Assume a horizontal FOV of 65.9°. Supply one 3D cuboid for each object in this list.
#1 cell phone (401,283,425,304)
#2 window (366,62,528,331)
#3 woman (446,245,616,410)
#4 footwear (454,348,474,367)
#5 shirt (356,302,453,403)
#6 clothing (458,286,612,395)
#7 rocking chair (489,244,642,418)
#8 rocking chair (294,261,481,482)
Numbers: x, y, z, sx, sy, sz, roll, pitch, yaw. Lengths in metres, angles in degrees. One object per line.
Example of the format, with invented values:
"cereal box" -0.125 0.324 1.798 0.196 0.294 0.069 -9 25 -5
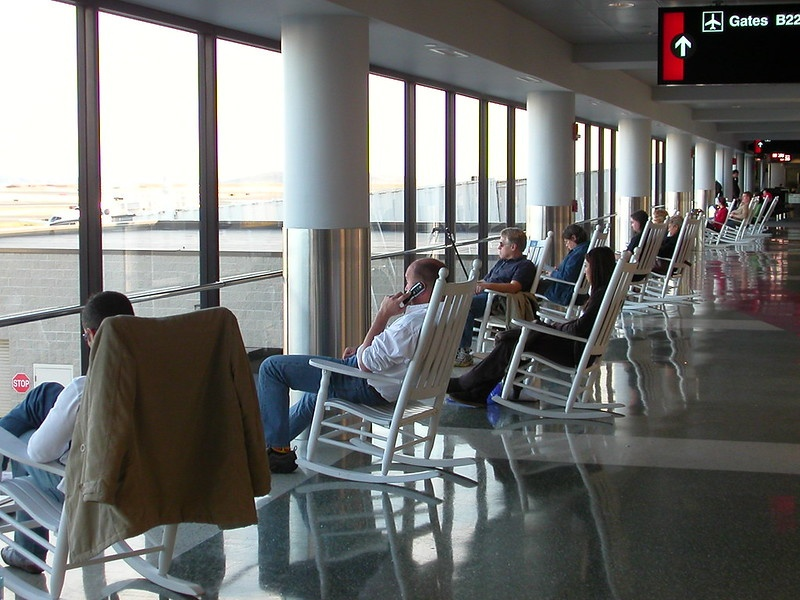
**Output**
"cell phone" 0.077 -0.031 3.524 0.149 0.076 0.035 -36 -12 -4
"window" 0.561 -1.557 8.377 0.028 2.438 4.163 2 5 28
"woman" 1.077 0.251 4.902 1.128 1.136 0.732 10 9 12
"footwear" 0.622 0.562 6.121 0.213 0.198 0.151 -3 7 6
"shirt" -0.038 0.327 3.388 0.395 0.571 0.331 -1 8 -4
"clothing" 1.089 0.477 5.188 1.128 1.088 0.684 13 -2 16
"rocking chair" 1.265 0.269 4.884 1.142 1.327 1.149 4 5 -25
"rocking chair" -0.052 0.414 3.599 1.006 1.203 1.069 3 1 -12
